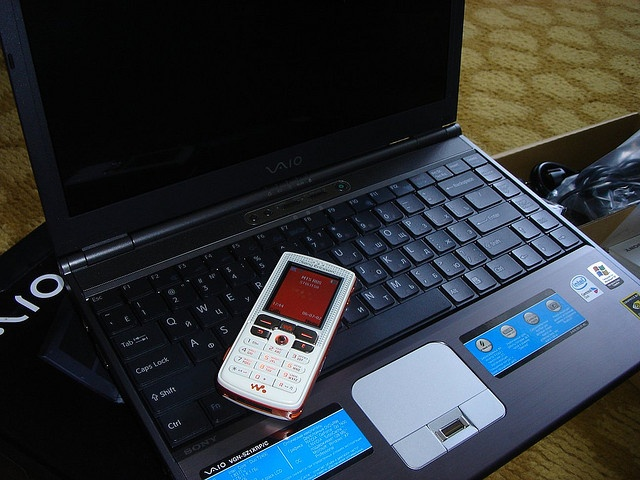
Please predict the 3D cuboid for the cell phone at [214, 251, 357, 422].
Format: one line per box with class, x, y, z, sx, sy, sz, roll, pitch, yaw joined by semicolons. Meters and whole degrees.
cell phone;-0.039;0.109;0.544;0.122;0.041;0.181;21;52;11
